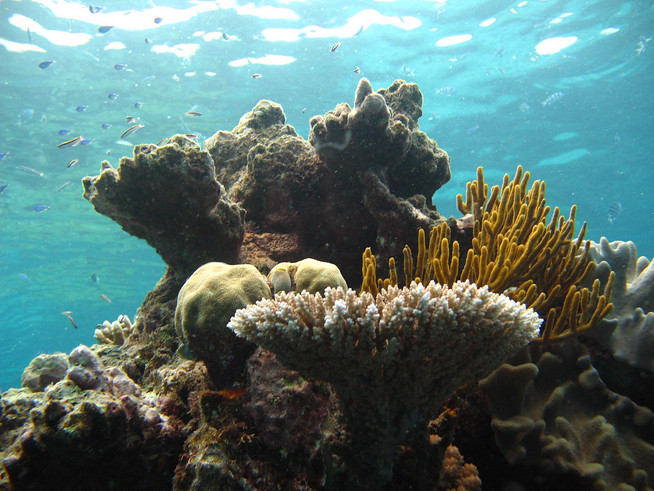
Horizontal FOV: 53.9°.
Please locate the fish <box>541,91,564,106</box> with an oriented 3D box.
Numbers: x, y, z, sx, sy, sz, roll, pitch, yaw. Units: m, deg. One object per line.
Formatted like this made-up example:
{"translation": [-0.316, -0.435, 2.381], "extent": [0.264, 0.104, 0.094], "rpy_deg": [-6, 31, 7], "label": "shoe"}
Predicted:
{"translation": [10.235, -6.672, 29.261], "extent": [0.464, 0.791, 0.187], "rpy_deg": [3, 68, 1], "label": "fish"}
